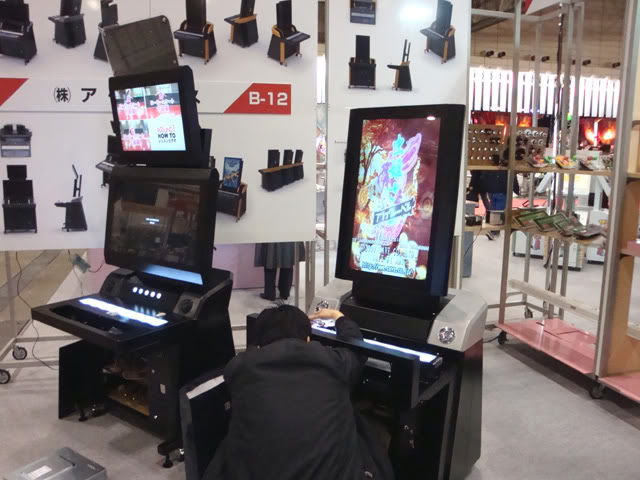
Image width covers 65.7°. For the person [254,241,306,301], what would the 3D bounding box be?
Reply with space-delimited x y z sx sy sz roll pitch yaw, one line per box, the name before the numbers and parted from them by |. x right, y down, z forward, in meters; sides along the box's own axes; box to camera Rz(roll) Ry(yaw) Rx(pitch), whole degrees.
person | -0.457 0.346 5.680 0.549 0.726 1.262 1 8 -3

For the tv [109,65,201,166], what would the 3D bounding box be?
tv | -1.136 -0.793 3.261 0.178 0.579 0.655 -3 13 33

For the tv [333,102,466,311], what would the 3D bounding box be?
tv | 0.418 -0.234 2.797 0.704 1.021 0.159 7 9 34

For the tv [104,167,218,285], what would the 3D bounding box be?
tv | -1.066 -0.113 3.337 0.842 0.744 0.110 7 5 19
